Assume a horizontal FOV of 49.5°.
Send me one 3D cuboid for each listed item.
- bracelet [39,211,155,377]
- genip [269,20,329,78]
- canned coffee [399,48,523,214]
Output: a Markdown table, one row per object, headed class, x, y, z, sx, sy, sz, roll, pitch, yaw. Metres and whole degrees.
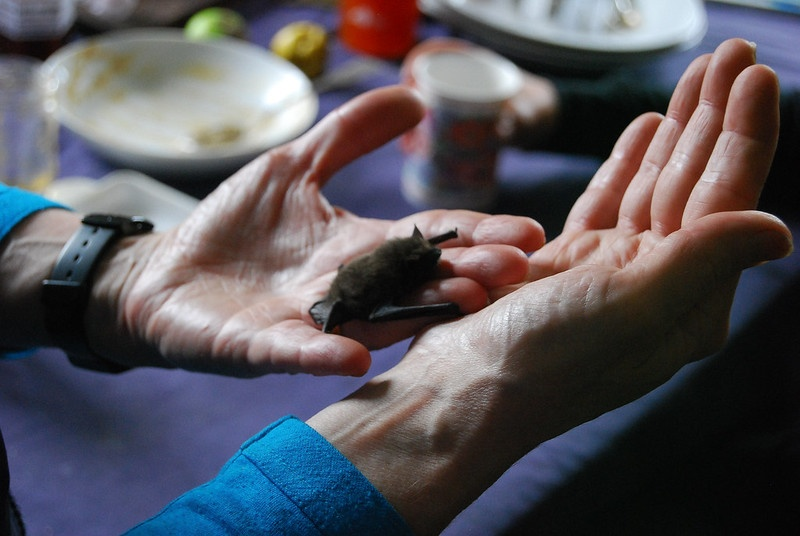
| class | x | y | z | sx | sy | sz | roll | pitch | yaw |
| --- | --- | --- | --- | --- | --- | --- | --- | --- | --- |
| bracelet | -0.784 | 0.088 | 2.406 | 0.300 | 0.402 | 0.325 | -3 | 25 | -8 |
| genip | -0.340 | -0.769 | 2.951 | 0.179 | 0.097 | 0.189 | -14 | 63 | -5 |
| canned coffee | 0.164 | -0.419 | 2.716 | 0.293 | 0.441 | 0.495 | -18 | 35 | -31 |
